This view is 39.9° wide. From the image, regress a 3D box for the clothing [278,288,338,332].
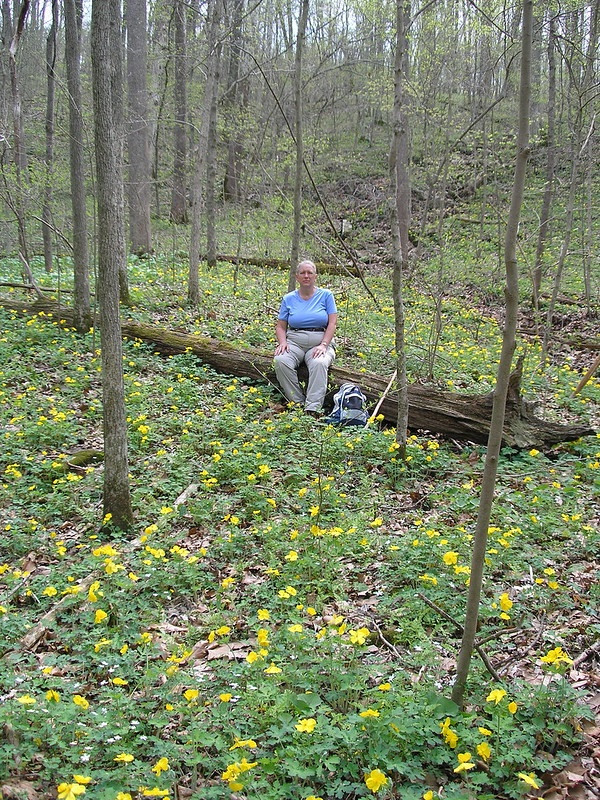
[{"bbox_3d":[0.122,-0.821,7.960,0.754,0.524,0.392,3,6,8],"label":"clothing"}]
